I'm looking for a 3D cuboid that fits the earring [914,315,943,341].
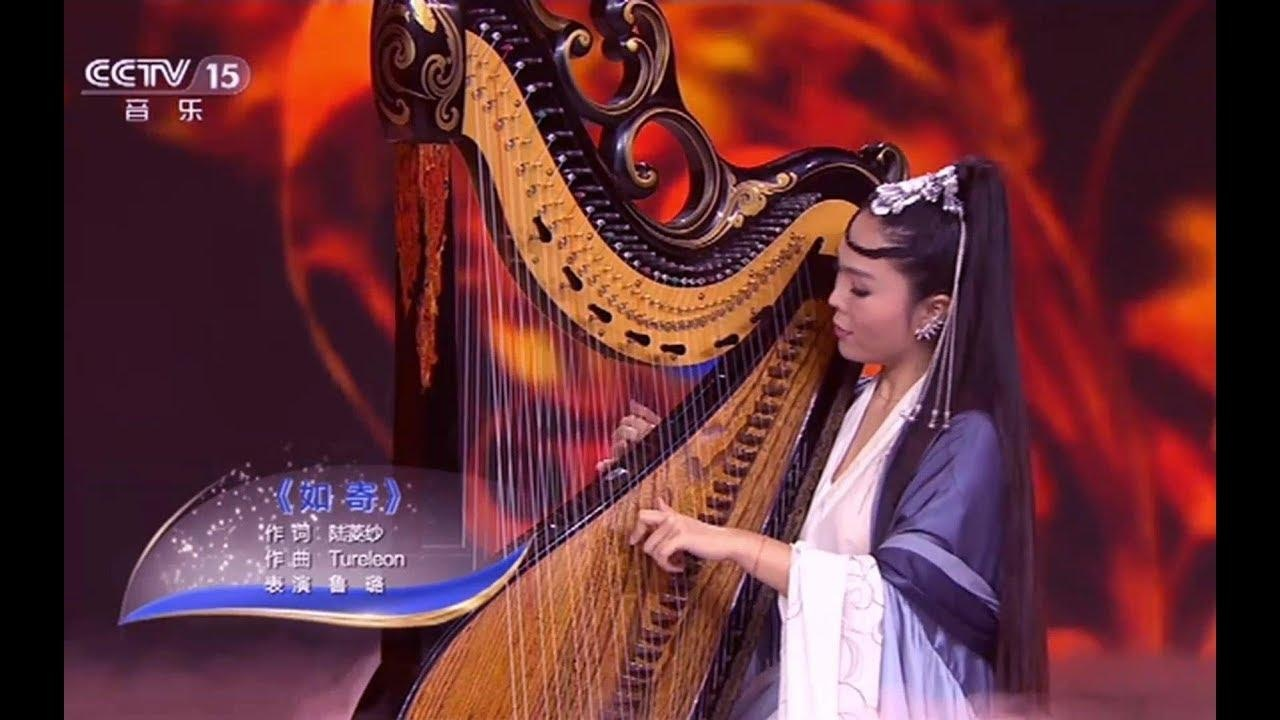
[{"bbox_3d":[0.771,-0.082,3.440,0.043,0.090,0.039,43,0,11],"label":"earring"}]
